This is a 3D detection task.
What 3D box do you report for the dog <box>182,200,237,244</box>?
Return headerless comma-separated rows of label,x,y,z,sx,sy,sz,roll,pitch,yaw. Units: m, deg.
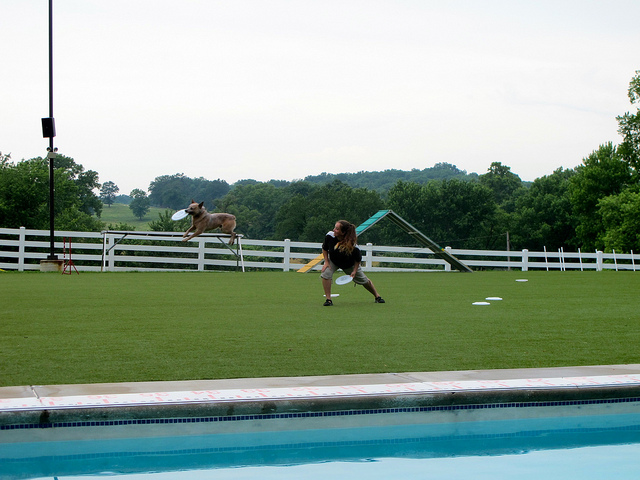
dog,-4.231,-0.698,36.623,0.781,1.634,2.285,14,20,42
